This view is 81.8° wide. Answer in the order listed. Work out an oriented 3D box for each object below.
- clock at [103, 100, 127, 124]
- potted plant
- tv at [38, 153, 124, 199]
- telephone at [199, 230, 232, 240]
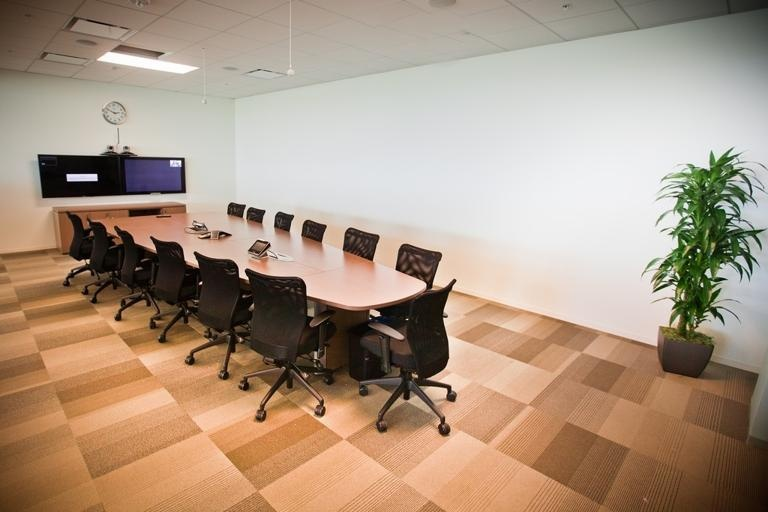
[{"bbox_3d":[-5.735,-3.085,9.484,0.081,0.558,0.531,12,15,42],"label":"clock"},{"bbox_3d":[3.863,0.054,5.462,1.149,2.698,0.962,-6,15,-24],"label":"potted plant"},{"bbox_3d":[-6.314,-1.685,9.192,1.035,0.598,0.073,-15,23,-41],"label":"tv"},{"bbox_3d":[-2.575,-0.330,6.735,0.298,0.093,0.218,7,11,30],"label":"telephone"}]
